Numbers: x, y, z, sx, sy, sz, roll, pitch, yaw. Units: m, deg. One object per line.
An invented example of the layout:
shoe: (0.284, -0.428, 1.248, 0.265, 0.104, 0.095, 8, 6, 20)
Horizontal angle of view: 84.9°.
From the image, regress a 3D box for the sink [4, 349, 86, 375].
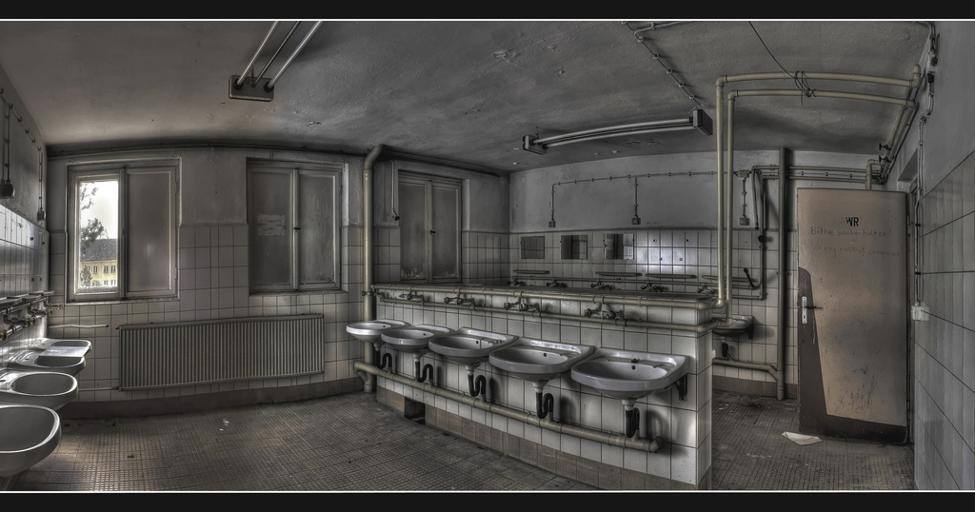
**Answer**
sink: (-5.121, 1.228, 6.178, 0.611, 0.152, 0.397, 1, 5, -24)

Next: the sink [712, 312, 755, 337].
sink: (3.468, 0.956, 7.456, 0.656, 0.191, 0.561, -3, 5, 27)

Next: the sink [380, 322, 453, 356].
sink: (-1.012, 1.063, 7.106, 0.608, 0.175, 0.570, 1, 0, 43)

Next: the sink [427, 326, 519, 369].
sink: (-0.253, 1.168, 6.681, 0.777, 0.347, 1.067, -6, 5, -36)

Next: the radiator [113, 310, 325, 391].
radiator: (-3.750, 1.379, 7.634, 2.840, 0.844, 0.162, -3, -19, -10)

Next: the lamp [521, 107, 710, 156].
lamp: (1.662, -1.629, 7.012, 2.325, 0.261, 0.347, -1, -1, 26)

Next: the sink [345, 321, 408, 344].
sink: (-1.627, 1.033, 7.586, 0.525, 0.158, 0.544, 2, -1, -43)
